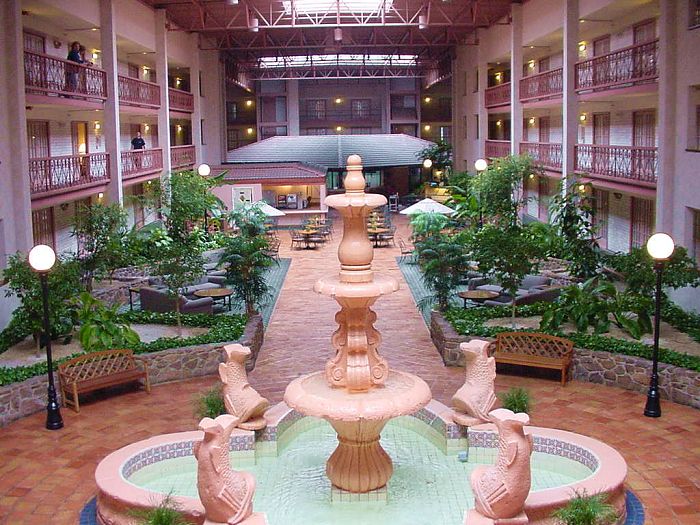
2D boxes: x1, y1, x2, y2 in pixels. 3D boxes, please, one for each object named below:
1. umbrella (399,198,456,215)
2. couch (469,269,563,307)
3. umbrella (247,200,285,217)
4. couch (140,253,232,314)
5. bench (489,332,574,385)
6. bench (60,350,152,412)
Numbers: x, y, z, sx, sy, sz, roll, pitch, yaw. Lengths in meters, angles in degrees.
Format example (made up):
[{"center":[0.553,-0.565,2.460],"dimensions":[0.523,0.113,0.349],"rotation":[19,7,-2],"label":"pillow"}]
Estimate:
[{"center":[3.652,-2.490,23.282],"dimensions":[2.217,0.807,1.604],"rotation":[-2,13,2],"label":"umbrella"},{"center":[5.375,0.914,15.903],"dimensions":[2.639,1.037,1.523],"rotation":[-3,8,-12],"label":"couch"},{"center":[-4.245,-2.667,25.050],"dimensions":[1.450,0.498,1.086],"rotation":[1,10,-3],"label":"umbrella"},{"center":[-4.959,1.092,15.615],"dimensions":[2.323,1.745,2.202],"rotation":[6,10,41],"label":"couch"},{"center":[3.875,2.007,10.795],"dimensions":[1.698,0.926,0.646],"rotation":[0,0,42],"label":"bench"},{"center":[-5.036,2.273,10.164],"dimensions":[1.544,1.098,0.879],"rotation":[-12,16,-38],"label":"bench"}]
